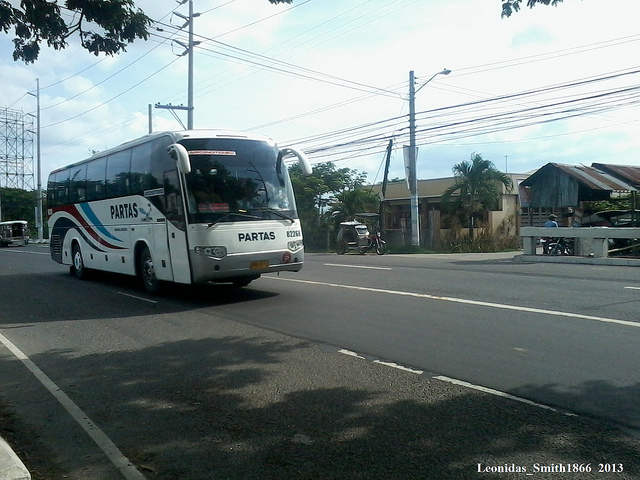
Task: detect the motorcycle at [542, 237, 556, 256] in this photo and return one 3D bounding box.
[{"bbox_3d":[9.065,0.243,21.902,0.222,0.651,0.662,6,-9,1],"label":"motorcycle"}]

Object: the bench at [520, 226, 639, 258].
[{"bbox_3d":[9.028,0.042,19.502,0.819,1.102,3.916,-9,10,-41],"label":"bench"}]

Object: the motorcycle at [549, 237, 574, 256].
[{"bbox_3d":[9.502,0.231,21.782,0.944,0.578,0.602,-3,-2,28],"label":"motorcycle"}]

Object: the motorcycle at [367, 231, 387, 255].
[{"bbox_3d":[2.768,0.187,27.056,0.604,1.058,1.024,-3,8,-3],"label":"motorcycle"}]

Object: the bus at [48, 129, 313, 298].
[{"bbox_3d":[-4.544,-0.780,15.493,3.300,3.708,9.856,-6,3,-41],"label":"bus"}]
